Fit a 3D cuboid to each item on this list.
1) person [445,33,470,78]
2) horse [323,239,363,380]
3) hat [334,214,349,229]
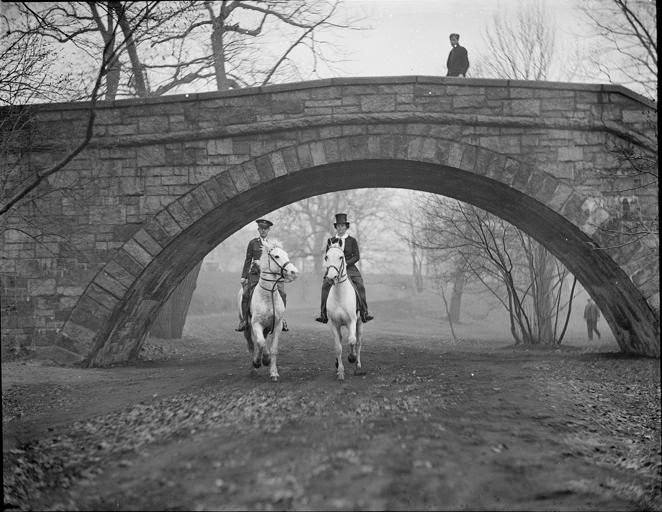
[{"bbox_3d":[3.617,-5.647,15.077,0.572,1.343,1.216,2,5,15],"label":"person"},{"bbox_3d":[0.252,1.127,11.387,0.721,3.023,1.563,1,4,7],"label":"horse"},{"bbox_3d":[0.235,-0.821,12.202,0.292,0.239,0.425,0,-4,2],"label":"hat"}]
